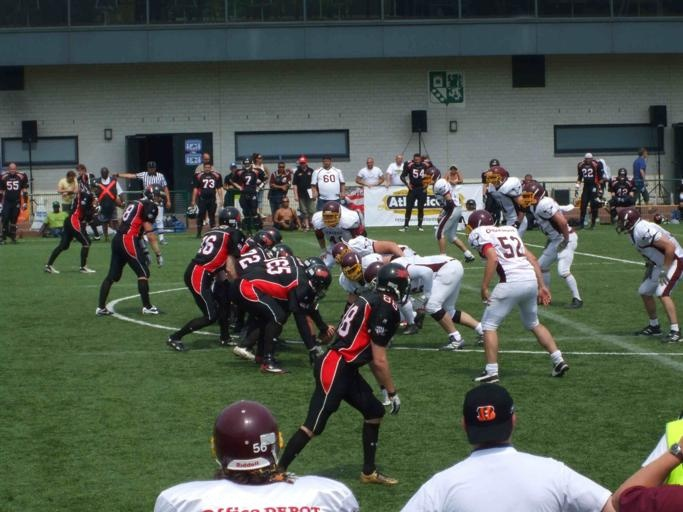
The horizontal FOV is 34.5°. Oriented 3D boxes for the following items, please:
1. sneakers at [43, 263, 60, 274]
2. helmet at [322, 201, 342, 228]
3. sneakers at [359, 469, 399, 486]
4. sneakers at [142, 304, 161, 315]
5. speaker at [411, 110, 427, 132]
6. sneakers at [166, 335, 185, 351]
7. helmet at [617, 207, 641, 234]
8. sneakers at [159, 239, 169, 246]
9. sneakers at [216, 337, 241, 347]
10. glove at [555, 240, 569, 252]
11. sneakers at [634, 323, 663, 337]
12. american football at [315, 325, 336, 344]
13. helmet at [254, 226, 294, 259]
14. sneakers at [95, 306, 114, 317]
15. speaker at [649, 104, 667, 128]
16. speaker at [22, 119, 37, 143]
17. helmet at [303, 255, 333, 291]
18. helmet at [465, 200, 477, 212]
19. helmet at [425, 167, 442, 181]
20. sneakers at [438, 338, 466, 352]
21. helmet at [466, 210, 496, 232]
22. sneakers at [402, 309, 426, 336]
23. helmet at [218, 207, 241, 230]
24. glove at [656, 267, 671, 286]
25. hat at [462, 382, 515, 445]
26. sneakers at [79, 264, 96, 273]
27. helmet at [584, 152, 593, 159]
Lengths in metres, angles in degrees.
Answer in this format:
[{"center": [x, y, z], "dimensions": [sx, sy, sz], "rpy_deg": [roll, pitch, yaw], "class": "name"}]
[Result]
[{"center": [-6.523, 0.276, 24.914], "dimensions": [0.455, 0.245, 0.167], "rpy_deg": [0, 18, -18], "class": "sneakers"}, {"center": [-0.164, -0.763, 19.747], "dimensions": [0.290, 0.366, 0.424], "rpy_deg": [1, 8, 9], "class": "helmet"}, {"center": [0.517, 2.879, 14.423], "dimensions": [0.531, 0.249, 0.190], "rpy_deg": [-2, 0, 3], "class": "sneakers"}, {"center": [-3.485, 0.998, 20.472], "dimensions": [0.370, 0.184, 0.142], "rpy_deg": [-1, 8, -9], "class": "sneakers"}, {"center": [2.547, -4.369, 35.490], "dimensions": [0.568, 0.904, 0.591], "rpy_deg": [0, 1, 2], "class": "speaker"}, {"center": [-2.698, 1.457, 18.095], "dimensions": [0.162, 0.145, 0.388], "rpy_deg": [-18, 44, -31], "class": "sneakers"}, {"center": [4.853, -0.614, 18.487], "dimensions": [0.372, 0.405, 0.342], "rpy_deg": [-2, 13, 19], "class": "helmet"}, {"center": [-4.788, -0.379, 29.799], "dimensions": [0.086, 0.119, 0.270], "rpy_deg": [-4, -1, -36], "class": "sneakers"}, {"center": [-1.875, 1.443, 18.574], "dimensions": [0.278, 0.129, 0.169], "rpy_deg": [-4, 37, -4], "class": "sneakers"}, {"center": [4.155, -0.209, 20.513], "dimensions": [0.333, 0.129, 0.106], "rpy_deg": [-54, 13, -28], "class": "glove"}, {"center": [5.235, 1.234, 18.547], "dimensions": [0.529, 0.291, 0.184], "rpy_deg": [0, 2, 5], "class": "sneakers"}, {"center": [-0.219, 1.315, 18.346], "dimensions": [0.204, 0.179, 0.368], "rpy_deg": [-30, -7, -2], "class": "american football"}, {"center": [-1.087, -0.198, 18.588], "dimensions": [0.638, 0.340, 0.427], "rpy_deg": [29, 33, -22], "class": "helmet"}, {"center": [-4.350, 1.011, 20.379], "dimensions": [0.370, 0.173, 0.141], "rpy_deg": [-2, 23, -18], "class": "sneakers"}, {"center": [10.357, -4.608, 36.108], "dimensions": [0.575, 0.934, 0.612], "rpy_deg": [-1, -1, 5], "class": "speaker"}, {"center": [-9.868, -3.969, 35.029], "dimensions": [0.466, 0.701, 0.528], "rpy_deg": [-1, 7, -20], "class": "speaker"}, {"center": [-0.323, 0.222, 17.324], "dimensions": [0.360, 0.411, 0.509], "rpy_deg": [33, 17, -21], "class": "helmet"}, {"center": [3.389, -1.354, 28.959], "dimensions": [0.372, 0.423, 0.406], "rpy_deg": [2, 3, 13], "class": "helmet"}, {"center": [2.310, -2.046, 27.353], "dimensions": [0.325, 0.438, 0.306], "rpy_deg": [12, 7, -10], "class": "helmet"}, {"center": [1.857, 1.450, 18.081], "dimensions": [0.454, 0.246, 0.162], "rpy_deg": [-3, 6, -2], "class": "sneakers"}, {"center": [2.222, -0.598, 17.434], "dimensions": [0.372, 0.334, 0.285], "rpy_deg": [33, 47, 13], "class": "helmet"}, {"center": [1.329, 1.191, 19.261], "dimensions": [0.186, 0.305, 0.634], "rpy_deg": [-5, -1, 31], "class": "sneakers"}, {"center": [-1.854, -0.633, 18.566], "dimensions": [0.276, 0.353, 0.399], "rpy_deg": [6, 18, 13], "class": "helmet"}, {"center": [5.367, 0.321, 18.212], "dimensions": [0.062, 0.236, 0.178], "rpy_deg": [18, -8, -27], "class": "glove"}, {"center": [1.644, 1.783, 12.216], "dimensions": [0.421, 0.350, 0.677], "rpy_deg": [-3, 29, 8], "class": "hat"}, {"center": [-5.727, 0.278, 25.081], "dimensions": [0.454, 0.247, 0.166], "rpy_deg": [-2, 16, -14], "class": "sneakers"}, {"center": [7.122, -2.877, 31.427], "dimensions": [0.343, 0.209, 0.542], "rpy_deg": [1, 8, 12], "class": "helmet"}]
